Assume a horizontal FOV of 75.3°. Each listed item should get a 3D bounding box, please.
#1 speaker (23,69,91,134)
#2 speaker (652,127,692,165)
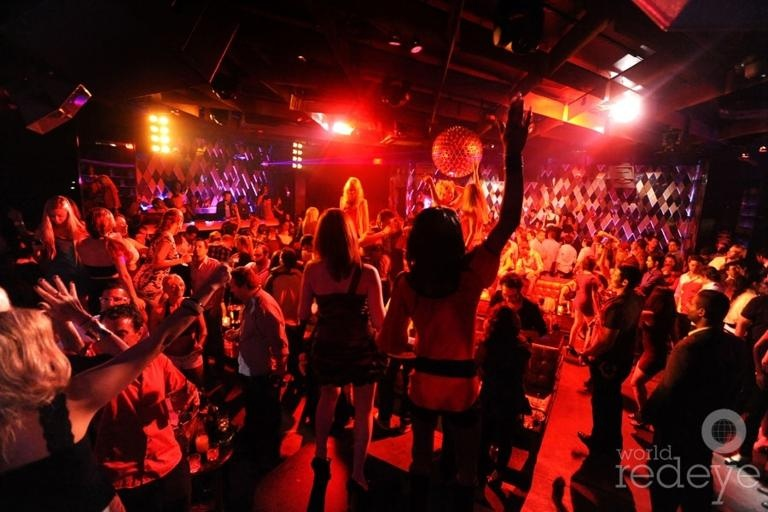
[{"bbox_3d":[-3.324,-1.513,5.141,0.175,0.545,0.534,49,-20,-28],"label":"speaker"},{"bbox_3d":[5.426,-2.099,9.397,0.386,0.716,0.390,0,6,2],"label":"speaker"}]
